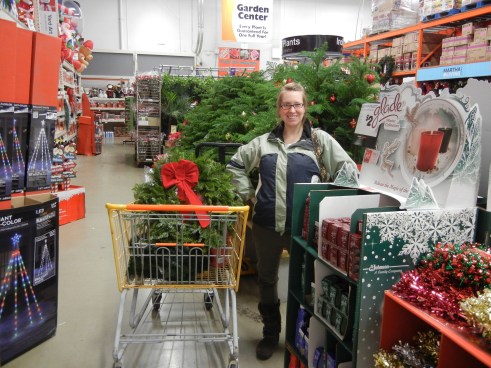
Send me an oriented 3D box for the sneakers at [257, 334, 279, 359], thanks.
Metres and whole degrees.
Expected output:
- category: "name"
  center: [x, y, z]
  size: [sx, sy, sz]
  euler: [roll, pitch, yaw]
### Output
- category: "sneakers"
  center: [0.155, 1.199, 2.360]
  size: [0.079, 0.151, 0.225]
  euler: [0, -16, 21]
